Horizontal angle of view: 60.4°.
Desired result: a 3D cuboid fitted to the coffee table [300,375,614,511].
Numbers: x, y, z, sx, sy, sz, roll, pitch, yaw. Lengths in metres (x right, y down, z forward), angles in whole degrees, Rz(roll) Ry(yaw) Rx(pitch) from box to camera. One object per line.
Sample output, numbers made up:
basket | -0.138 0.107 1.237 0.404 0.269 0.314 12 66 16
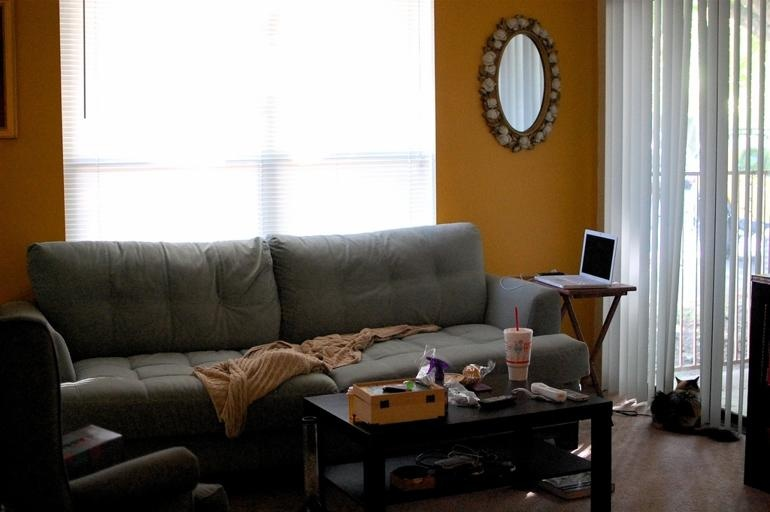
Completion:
coffee table | 0.336 0.874 3.131 1.438 0.668 0.525 -3 10 -10

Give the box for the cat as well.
cat | 1.979 1.006 4.246 0.336 0.204 0.451 -6 10 -35

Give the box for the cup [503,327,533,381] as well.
cup | 0.681 0.498 3.392 0.124 0.317 0.266 1 10 10

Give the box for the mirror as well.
mirror | 1.002 -1.332 5.036 1.019 1.247 0.120 -5 9 -27

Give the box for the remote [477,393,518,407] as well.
remote | 0.520 0.666 3.046 0.126 0.024 0.066 -4 6 -19

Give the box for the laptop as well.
laptop | 1.306 0.046 4.540 0.437 0.336 0.458 -1 7 -14

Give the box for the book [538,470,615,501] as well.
book | 0.969 1.220 3.491 0.264 0.060 0.258 -5 5 -26
